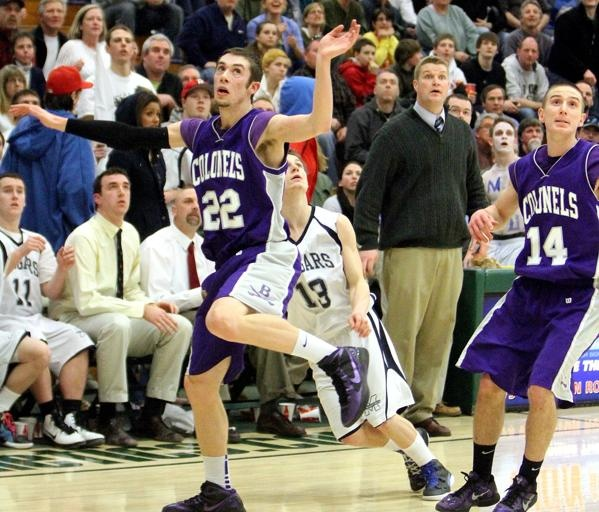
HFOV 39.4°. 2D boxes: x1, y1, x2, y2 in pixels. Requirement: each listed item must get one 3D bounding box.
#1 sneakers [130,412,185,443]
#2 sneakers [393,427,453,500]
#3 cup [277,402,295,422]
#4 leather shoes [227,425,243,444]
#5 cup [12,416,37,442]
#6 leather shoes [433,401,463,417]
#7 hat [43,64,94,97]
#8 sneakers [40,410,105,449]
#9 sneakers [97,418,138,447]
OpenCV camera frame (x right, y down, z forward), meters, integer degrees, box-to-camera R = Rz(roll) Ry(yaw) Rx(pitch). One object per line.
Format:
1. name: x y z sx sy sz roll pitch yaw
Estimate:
1. sneakers: -0.960 1.167 5.715 0.399 0.259 0.135 2 -2 25
2. sneakers: 0.676 1.141 4.522 0.156 0.181 0.465 -39 2 3
3. cup: -0.073 1.133 6.091 0.131 0.122 0.132 -2 -5 0
4. leather shoes: -0.439 1.206 5.651 0.074 0.084 0.201 1 -12 -6
5. cup: -1.776 1.121 5.427 0.150 0.138 0.120 3 3 23
6. leather shoes: 1.166 1.205 6.594 0.264 0.108 0.086 -3 0 6
7. hat: -1.706 -1.312 6.309 0.366 0.185 0.245 -20 37 -32
8. sneakers: -1.470 1.095 5.300 0.452 0.203 0.166 1 1 29
9. sneakers: -1.182 1.153 5.500 0.351 0.210 0.119 2 0 28
